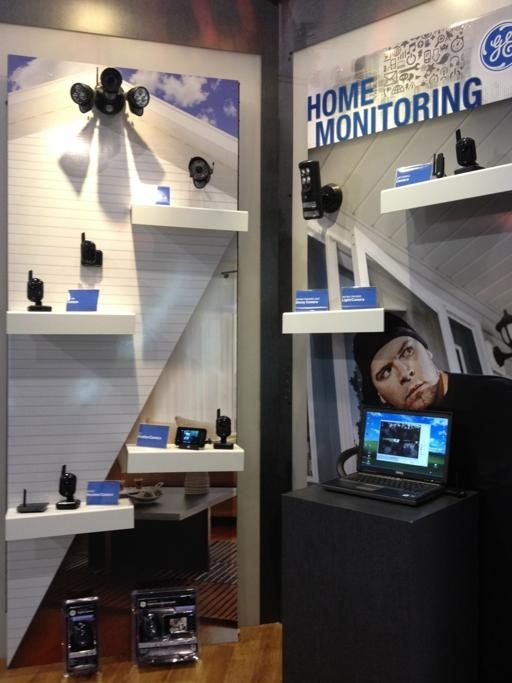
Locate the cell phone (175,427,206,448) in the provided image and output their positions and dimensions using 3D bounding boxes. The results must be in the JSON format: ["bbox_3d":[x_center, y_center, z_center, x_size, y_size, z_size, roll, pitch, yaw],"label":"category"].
[{"bbox_3d":[-0.265,0.397,2.309,0.138,0.099,0.072,3,-22,8],"label":"cell phone"}]

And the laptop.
[{"bbox_3d":[0.454,0.382,1.908,0.241,0.296,0.358,10,-3,-43],"label":"laptop"}]

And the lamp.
[{"bbox_3d":[-0.577,-0.957,2.269,0.208,0.103,0.209,-7,10,-10],"label":"lamp"}]
